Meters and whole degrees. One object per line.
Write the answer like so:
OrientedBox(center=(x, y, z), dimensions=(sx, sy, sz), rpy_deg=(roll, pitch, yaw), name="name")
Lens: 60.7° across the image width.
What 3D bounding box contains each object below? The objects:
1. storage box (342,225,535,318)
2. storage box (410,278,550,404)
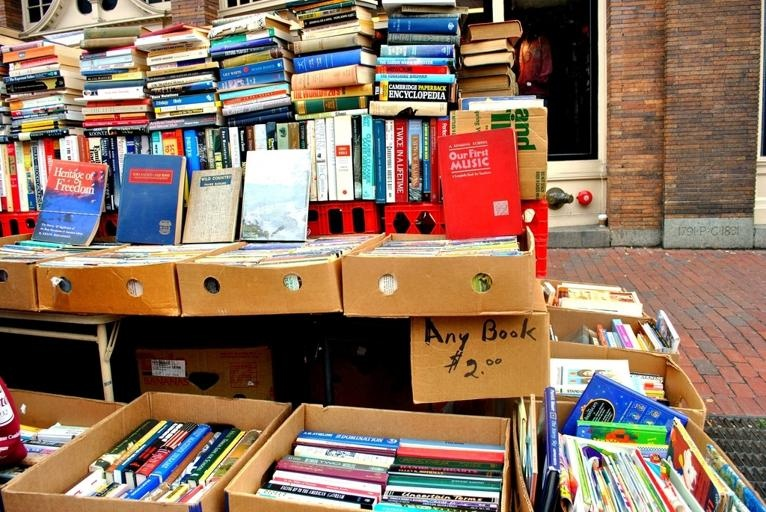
OrientedBox(center=(0.399, 0.119, 4.175), dimensions=(1.191, 0.438, 0.752), rpy_deg=(-1, 7, 13), name="storage box")
OrientedBox(center=(0.561, 0.416, 4.376), dimensions=(0.990, 0.598, 0.963), rpy_deg=(1, 23, -5), name="storage box")
